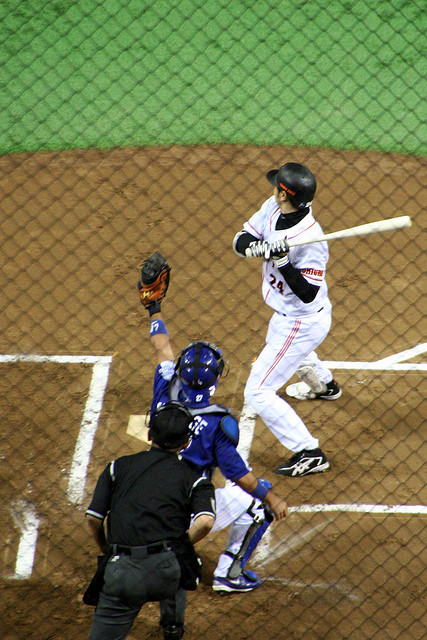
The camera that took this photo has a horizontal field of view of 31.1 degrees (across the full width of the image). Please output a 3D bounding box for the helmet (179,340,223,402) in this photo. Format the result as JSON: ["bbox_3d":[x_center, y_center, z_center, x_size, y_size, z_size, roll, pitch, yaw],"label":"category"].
[{"bbox_3d":[-0.059,0.292,4.170,0.294,0.275,0.282,5,85,0],"label":"helmet"}]
